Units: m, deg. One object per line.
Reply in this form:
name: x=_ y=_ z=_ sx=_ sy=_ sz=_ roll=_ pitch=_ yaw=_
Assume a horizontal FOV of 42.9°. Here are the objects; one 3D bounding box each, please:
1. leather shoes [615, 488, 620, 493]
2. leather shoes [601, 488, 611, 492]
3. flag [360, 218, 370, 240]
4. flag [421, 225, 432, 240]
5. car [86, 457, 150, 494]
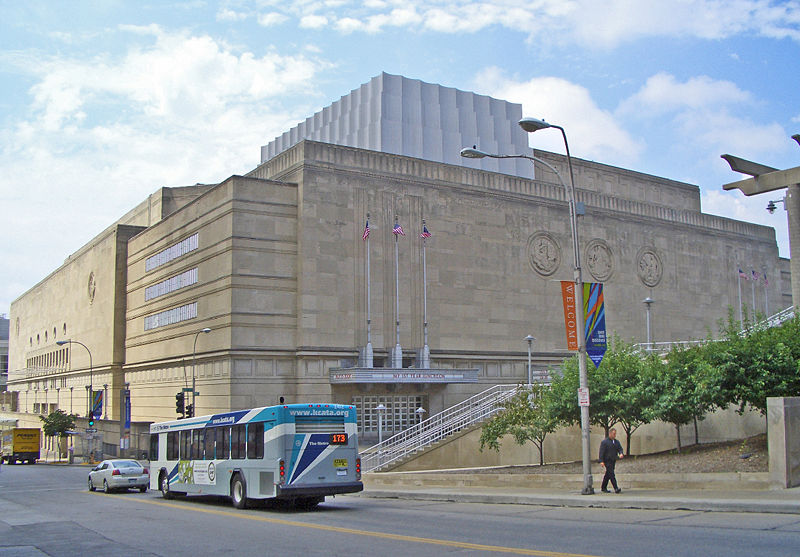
leather shoes: x=10.085 y=9.817 z=47.035 sx=0.171 sy=0.247 sz=0.249 roll=3 pitch=-13 yaw=-4
leather shoes: x=9.590 y=9.862 z=47.398 sx=0.381 sy=0.283 sz=0.145 roll=-4 pitch=-6 yaw=1
flag: x=-2.698 y=-3.865 z=79.251 sx=0.495 sy=1.647 sz=0.767 roll=-4 pitch=-14 yaw=12
flag: x=1.949 y=-3.739 z=80.965 sx=0.942 sy=1.797 sz=0.730 roll=-3 pitch=-1 yaw=-5
car: x=-16.804 y=11.523 z=59.287 sx=1.767 sy=1.242 sz=3.896 roll=7 pitch=-11 yaw=-33
